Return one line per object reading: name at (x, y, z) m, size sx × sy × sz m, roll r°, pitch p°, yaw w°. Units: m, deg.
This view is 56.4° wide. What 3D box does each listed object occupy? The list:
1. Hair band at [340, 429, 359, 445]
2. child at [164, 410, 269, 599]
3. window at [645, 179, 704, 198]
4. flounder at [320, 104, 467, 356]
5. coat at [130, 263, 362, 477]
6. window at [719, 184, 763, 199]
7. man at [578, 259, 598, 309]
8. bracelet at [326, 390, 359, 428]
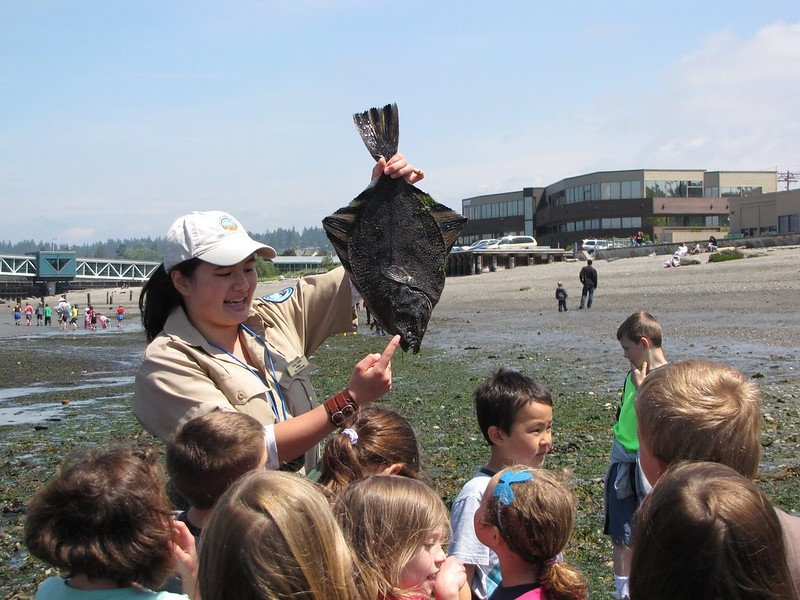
Hair band at (-0.283, 0.765, 4.215) m, size 0.067 × 0.089 × 0.033 m, roll -39°, pitch -21°, yaw 19°
child at (-0.847, 0.954, 3.463) m, size 0.433 × 0.876 × 0.728 m, roll -7°, pitch 9°, yaw -7°
window at (31.553, -12.675, 85.407) m, size 6.883 × 1.995 × 1.044 m, roll -4°, pitch 5°, yaw -16°
flounder at (-0.035, -0.437, 4.444) m, size 0.863 × 1.643 × 0.163 m, roll 2°, pitch -19°, yaw -20°
coat at (-0.999, 0.268, 4.681) m, size 1.102 × 1.430 × 1.472 m, roll 4°, pitch 14°, yaw 29°
window at (39.018, -12.329, 85.199) m, size 4.321 × 1.133 × 1.044 m, roll -4°, pitch 5°, yaw -7°
man at (8.229, -0.715, 32.517) m, size 0.699 × 1.962 × 4.159 m, roll -1°, pitch 5°, yaw 14°
bracelet at (-0.309, 0.569, 3.946) m, size 0.145 × 0.089 × 0.201 m, roll -18°, pitch -12°, yaw -32°
